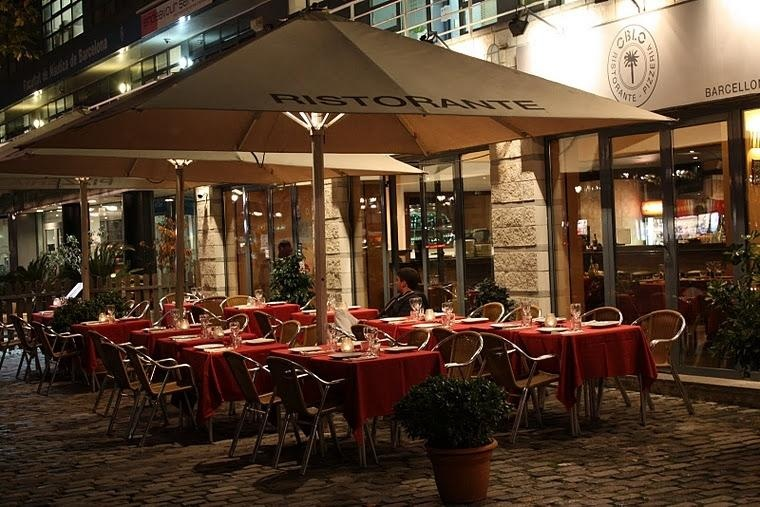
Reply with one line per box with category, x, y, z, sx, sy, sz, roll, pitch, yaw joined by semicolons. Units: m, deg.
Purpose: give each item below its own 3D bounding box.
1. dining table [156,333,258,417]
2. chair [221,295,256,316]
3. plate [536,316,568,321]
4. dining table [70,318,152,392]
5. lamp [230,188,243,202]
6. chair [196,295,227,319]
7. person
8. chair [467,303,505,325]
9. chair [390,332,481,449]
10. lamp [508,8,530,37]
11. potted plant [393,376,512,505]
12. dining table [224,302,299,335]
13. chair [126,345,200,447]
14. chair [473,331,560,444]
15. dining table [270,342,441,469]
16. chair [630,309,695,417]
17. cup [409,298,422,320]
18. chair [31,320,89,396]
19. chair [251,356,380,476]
dining table;-2.284;1.499;8.119;0.975;0.627;1.165;1;0;-38
chair;-3.260;1.118;14.104;0.479;0.633;0.466;0;-2;-24
plate;2.496;0.945;9.291;0.322;0.055;0.324;-3;-3;27
dining table;-5.069;1.684;11.591;1.319;0.982;1.410;5;3;41
lamp;-4.565;-1.848;19.920;0.428;0.436;0.315;2;-3;-19
chair;-3.695;1.109;13.750;0.472;0.533;0.476;-1;8;-34
person;-0.139;0.998;11.046;1.883;1.351;1.092;-4;-19;24
chair;1.837;0.972;10.684;0.417;0.568;0.421;5;-2;-43
chair;0.651;1.371;7.943;0.799;1.049;0.890;21;-10;-21
lamp;2.541;-4.224;11.580;0.467;0.490;0.277;4;2;42
potted plant;0.678;1.865;6.389;1.159;1.253;1.107;-3;-9;-9
dining table;-2.346;1.182;12.917;0.977;0.516;0.818;-1;-1;-24
chair;-2.958;1.826;8.577;0.938;1.174;0.876;2;-2;-20
chair;1.822;1.631;8.077;0.969;1.281;0.945;-5;-1;-11
dining table;-0.062;1.473;7.218;1.206;0.804;1.479;4;-4;-42
chair;3.726;1.561;8.884;0.976;1.383;0.966;-8;7;-17
cup;0.568;0.875;10.104;0.269;0.458;0.275;0;-7;0
chair;-5.842;1.824;11.586;0.781;1.129;0.835;-3;-3;35
chair;-0.811;1.748;7.098;0.740;1.048;0.760;-6;-10;38
